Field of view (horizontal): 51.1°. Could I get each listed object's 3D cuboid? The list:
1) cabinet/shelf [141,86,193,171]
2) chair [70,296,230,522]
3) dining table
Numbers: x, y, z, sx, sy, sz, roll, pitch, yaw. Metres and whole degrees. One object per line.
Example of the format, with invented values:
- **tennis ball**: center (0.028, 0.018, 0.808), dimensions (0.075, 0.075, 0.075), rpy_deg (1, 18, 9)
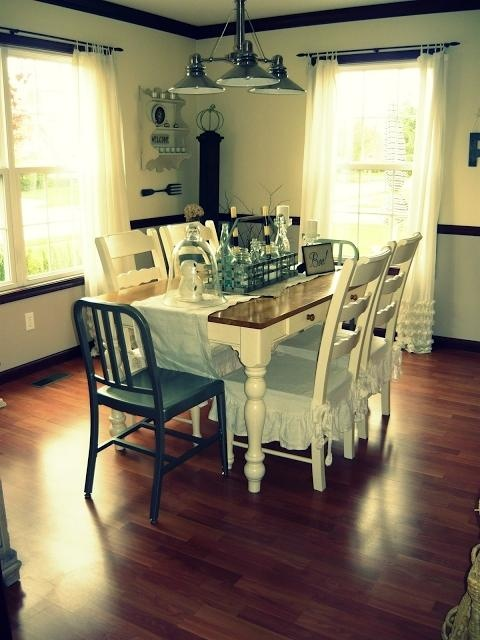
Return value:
- **cabinet/shelf**: center (-0.656, -1.687, 4.490), dimensions (0.207, 0.717, 0.612), rpy_deg (5, 11, 28)
- **chair**: center (-0.353, 0.390, 2.103), dimensions (0.505, 0.998, 0.541), rpy_deg (14, 30, 27)
- **dining table**: center (0.025, 0.136, 2.488), dimensions (1.260, 0.967, 0.811), rpy_deg (10, 20, 33)
